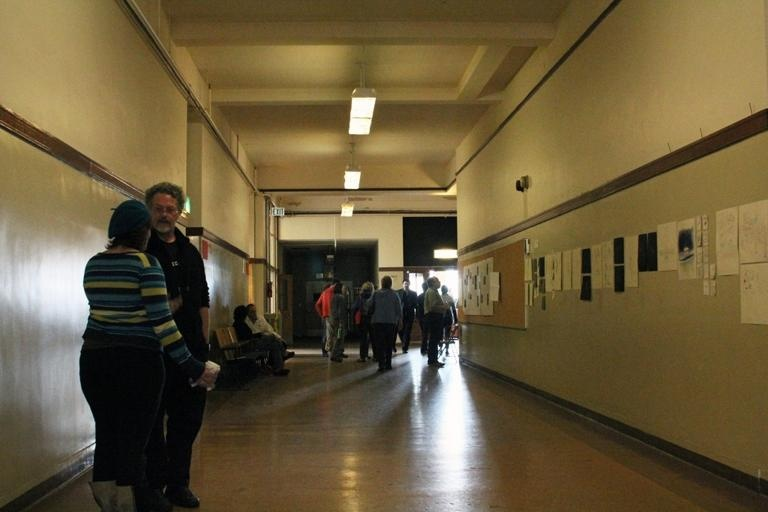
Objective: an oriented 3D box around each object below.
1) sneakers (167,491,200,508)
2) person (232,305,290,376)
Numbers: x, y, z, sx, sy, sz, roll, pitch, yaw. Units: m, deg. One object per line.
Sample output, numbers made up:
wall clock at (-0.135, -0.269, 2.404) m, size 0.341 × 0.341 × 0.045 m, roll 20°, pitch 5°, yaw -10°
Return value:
sneakers at (-1.469, 1.803, 4.069) m, size 0.261 × 0.120 × 0.100 m, roll 3°, pitch 2°, yaw 1°
person at (-2.289, 1.556, 10.179) m, size 0.800 × 1.454 × 0.634 m, roll -14°, pitch -8°, yaw 3°
